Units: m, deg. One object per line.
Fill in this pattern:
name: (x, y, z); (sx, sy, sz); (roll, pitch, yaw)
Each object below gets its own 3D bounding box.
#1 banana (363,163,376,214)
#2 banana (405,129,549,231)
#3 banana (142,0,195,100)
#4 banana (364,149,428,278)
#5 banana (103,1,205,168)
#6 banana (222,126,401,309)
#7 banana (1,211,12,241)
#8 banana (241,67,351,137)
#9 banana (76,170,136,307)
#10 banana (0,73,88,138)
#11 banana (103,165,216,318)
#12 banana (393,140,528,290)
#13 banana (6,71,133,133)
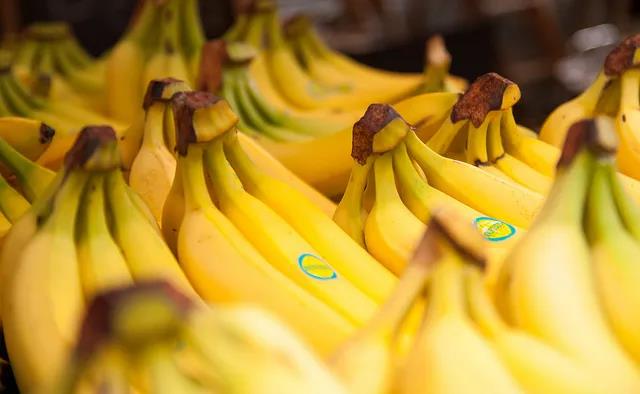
banana: (0.124, -0.013, 1.398); (0.027, 0.116, 0.031); (4, 47, 7)
banana: (0.410, 0.005, 1.392); (0.455, 0.190, 0.092); (10, -22, -14)
banana: (-0.508, -0.490, 1.841); (0.116, 0.457, 0.161); (4, -1, 5)
banana: (0.159, 0.056, 1.322); (0.100, 0.352, 0.129); (5, -27, -15)
banana: (-0.498, -0.338, 1.681); (0.143, 0.614, 0.216); (13, -8, 7)
banana: (-0.013, 0.058, 1.293); (0.445, 0.154, 0.079); (45, 47, 12)
banana: (-0.776, 0.069, 1.367); (0.023, 0.032, 0.092); (-7, 55, -15)
banana: (-0.028, -0.292, 1.821); (0.374, 0.069, 0.133); (1, 31, 48)
banana: (-0.482, 0.038, 1.208); (0.119, 0.363, 0.100); (-5, -18, -28)
banana: (-0.899, -0.290, 1.791); (0.066, 0.308, 0.108); (-50, 0, -33)
banana: (-0.334, 0.101, 1.168); (0.072, 0.278, 0.094); (-23, -14, -37)
banana: (0.330, 0.019, 1.328); (0.352, 0.223, 0.109); (23, -19, -6)
banana: (-0.835, -0.310, 1.846); (0.400, 0.139, 0.076); (25, 31, -7)
